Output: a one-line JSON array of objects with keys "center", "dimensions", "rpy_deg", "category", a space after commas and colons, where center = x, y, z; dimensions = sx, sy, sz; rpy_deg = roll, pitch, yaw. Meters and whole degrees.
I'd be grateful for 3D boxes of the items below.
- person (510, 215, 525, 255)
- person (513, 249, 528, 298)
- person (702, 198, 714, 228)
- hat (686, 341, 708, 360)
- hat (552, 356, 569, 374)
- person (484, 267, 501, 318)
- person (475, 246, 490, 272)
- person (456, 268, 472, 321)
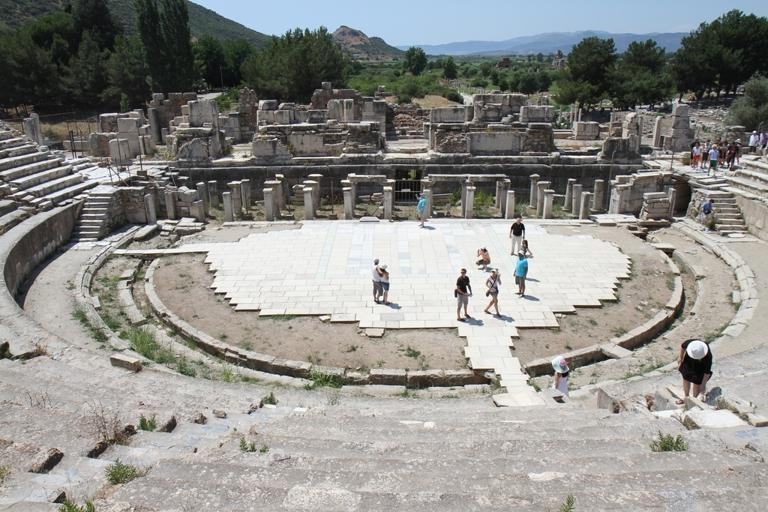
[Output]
[{"center": [4.601, -0.699, 17.792], "dimensions": [0.398, 1.336, 1.216], "rpy_deg": [1, 6, 14], "category": "person"}, {"center": [4.155, 0.534, 15.684], "dimensions": [0.368, 1.293, 1.675], "rpy_deg": [1, 6, 14], "category": "person"}, {"center": [13.069, -1.718, 20.848], "dimensions": [0.416, 1.196, 0.732], "rpy_deg": [3, 7, 29], "category": "person"}, {"center": [5.716, 1.731, 9.430], "dimensions": [0.334, 0.303, 0.295], "rpy_deg": [3, 7, 29], "category": "hat"}, {"center": [3.823, 2.359, 11.331], "dimensions": [0.411, 0.206, 0.506], "rpy_deg": [-3, 29, 4], "category": "hat"}, {"center": [3.011, 0.995, 14.389], "dimensions": [0.419, 1.399, 1.423], "rpy_deg": [0, 6, 12], "category": "person"}, {"center": [3.278, 0.085, 17.017], "dimensions": [0.470, 0.694, 1.135], "rpy_deg": [0, 6, 11], "category": "person"}, {"center": [2.168, 1.040, 14.216], "dimensions": [0.408, 1.495, 1.086], "rpy_deg": [0, 6, 8], "category": "person"}]
